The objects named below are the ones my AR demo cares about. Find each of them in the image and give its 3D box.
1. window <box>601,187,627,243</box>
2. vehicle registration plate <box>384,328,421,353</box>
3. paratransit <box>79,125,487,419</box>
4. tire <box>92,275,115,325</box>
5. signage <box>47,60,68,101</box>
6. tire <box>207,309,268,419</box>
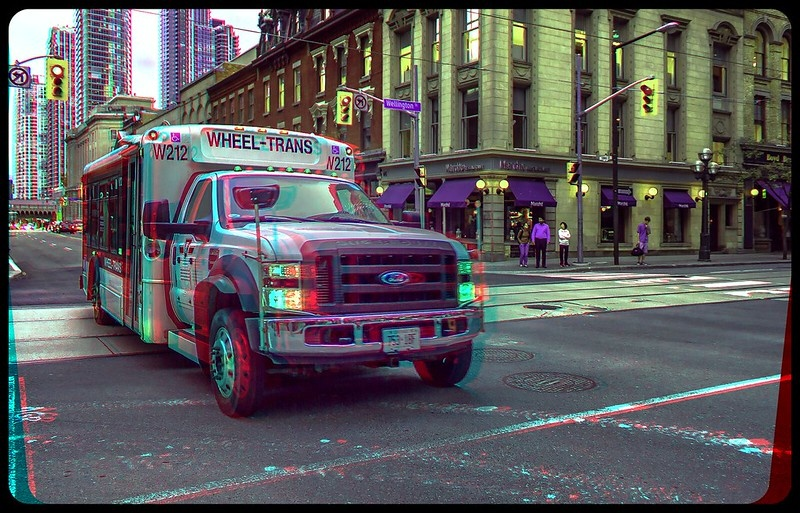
[{"bbox_3d":[12.719,-2.450,34.628,0.961,3.133,1.436,-14,1,-5],"label":"window"},{"bbox_3d":[0.020,0.953,6.988,0.478,0.279,0.047,-3,8,-25],"label":"vehicle registration plate"},{"bbox_3d":[-2.414,-0.158,9.116,3.061,2.803,6.446,0,-1,-36],"label":"paratransit"},{"bbox_3d":[-5.489,0.776,11.268,0.328,0.862,0.888,-4,13,-29],"label":"tire"},{"bbox_3d":[-12.534,-6.493,22.164,0.660,1.427,0.834,-5,9,-35],"label":"signage"},{"bbox_3d":[-1.873,1.247,7.060,0.521,1.454,1.314,1,-1,-37],"label":"tire"}]
